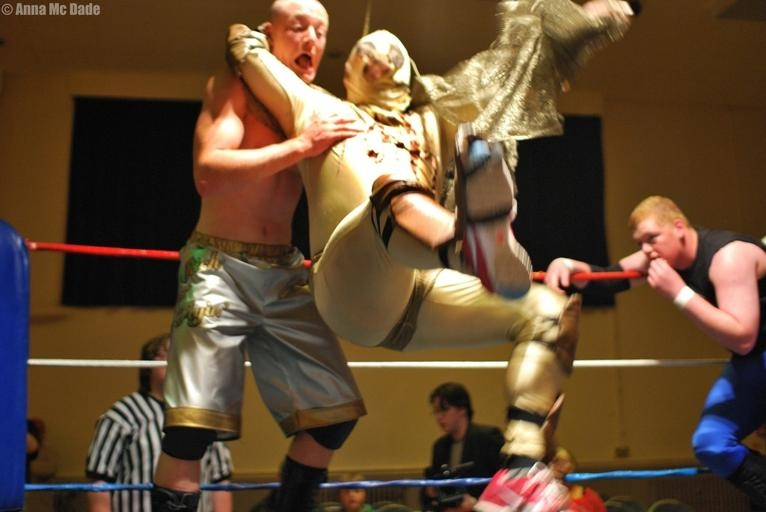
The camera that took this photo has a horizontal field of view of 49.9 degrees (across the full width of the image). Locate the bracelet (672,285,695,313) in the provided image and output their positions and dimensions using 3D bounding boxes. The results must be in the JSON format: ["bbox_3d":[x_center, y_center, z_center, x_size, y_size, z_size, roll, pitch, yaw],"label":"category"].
[{"bbox_3d":[1.471,0.205,4.055,0.081,0.111,0.040,42,-3,27],"label":"bracelet"}]

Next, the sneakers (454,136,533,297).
[{"bbox_3d":[0.401,-0.135,3.305,0.224,0.640,0.274,-13,9,2],"label":"sneakers"}]
